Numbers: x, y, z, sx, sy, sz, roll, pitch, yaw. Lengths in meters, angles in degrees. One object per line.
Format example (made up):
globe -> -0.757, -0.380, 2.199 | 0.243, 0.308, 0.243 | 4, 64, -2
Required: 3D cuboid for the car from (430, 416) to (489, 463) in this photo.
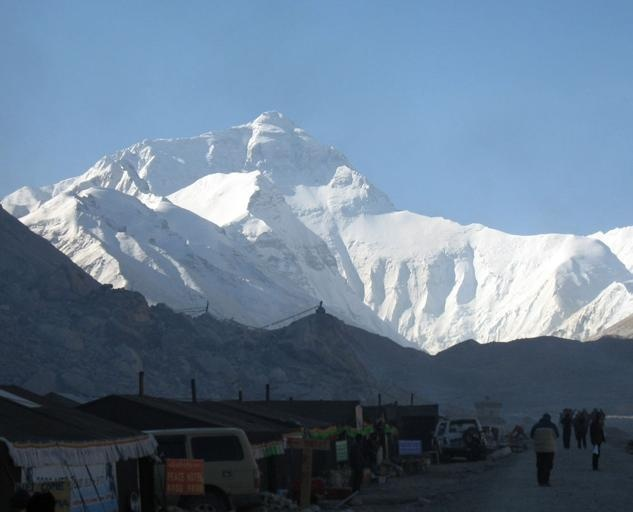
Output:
car -> 8.007, 10.206, 71.378 | 1.500, 2.322, 3.221 | 5, -12, -29
